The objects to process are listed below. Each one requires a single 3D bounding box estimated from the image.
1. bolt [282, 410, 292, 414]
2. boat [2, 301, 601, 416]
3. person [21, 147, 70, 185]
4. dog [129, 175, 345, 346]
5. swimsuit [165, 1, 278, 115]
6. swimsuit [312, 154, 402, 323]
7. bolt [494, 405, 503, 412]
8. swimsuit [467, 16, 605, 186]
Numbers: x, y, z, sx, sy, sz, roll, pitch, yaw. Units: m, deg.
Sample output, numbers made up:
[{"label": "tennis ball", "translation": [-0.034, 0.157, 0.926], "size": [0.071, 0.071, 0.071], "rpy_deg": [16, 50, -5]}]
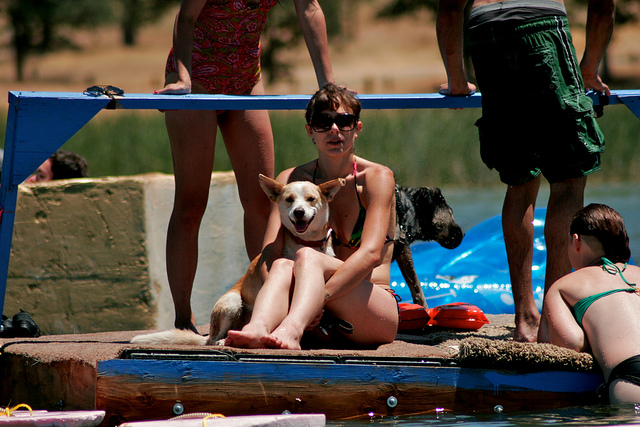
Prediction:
[{"label": "bolt", "translation": [-0.306, 1.865, 13.695], "size": [0.028, 0.008, 0.034], "rpy_deg": [-3, 30, 4]}, {"label": "boat", "translation": [-0.099, 1.523, 13.813], "size": [4.058, 0.383, 2.073], "rpy_deg": [0, 1, -9]}, {"label": "person", "translation": [-3.059, -0.499, 16.394], "size": [0.504, 0.307, 0.816], "rpy_deg": [-3, 6, -9]}, {"label": "dog", "translation": [-0.526, 0.755, 14.851], "size": [1.404, 1.535, 2.149], "rpy_deg": [28, -37, -26]}, {"label": "swimsuit", "translation": [-0.931, -1.711, 15.065], "size": [1.245, 1.404, 0.754], "rpy_deg": [0, 4, -33]}, {"label": "swimsuit", "translation": [0.386, 0.311, 14.751], "size": [0.753, 1.536, 0.836], "rpy_deg": [0, -1, 2]}, {"label": "bolt", "translation": [1.678, 1.839, 13.739], "size": [0.058, 0.055, 0.034], "rpy_deg": [-26, -5, -5]}, {"label": "swimsuit", "translation": [2.092, -1.109, 14.650], "size": [1.300, 1.570, 1.004], "rpy_deg": [-7, 9, 30]}]
